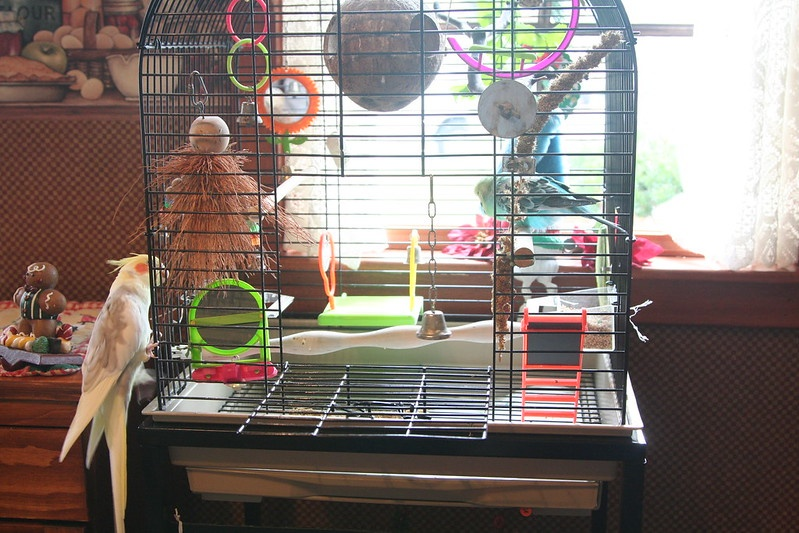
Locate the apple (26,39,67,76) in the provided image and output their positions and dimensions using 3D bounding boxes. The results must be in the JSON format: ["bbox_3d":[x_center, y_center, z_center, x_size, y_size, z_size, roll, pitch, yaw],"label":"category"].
[{"bbox_3d":[-1.083,-0.624,2.285,0.113,0.102,0.101,1,-30,-35],"label":"apple"}]

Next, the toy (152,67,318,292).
[{"bbox_3d":[-0.413,-0.146,1.774,0.343,0.422,0.304,4,-7,-7],"label":"toy"}]
